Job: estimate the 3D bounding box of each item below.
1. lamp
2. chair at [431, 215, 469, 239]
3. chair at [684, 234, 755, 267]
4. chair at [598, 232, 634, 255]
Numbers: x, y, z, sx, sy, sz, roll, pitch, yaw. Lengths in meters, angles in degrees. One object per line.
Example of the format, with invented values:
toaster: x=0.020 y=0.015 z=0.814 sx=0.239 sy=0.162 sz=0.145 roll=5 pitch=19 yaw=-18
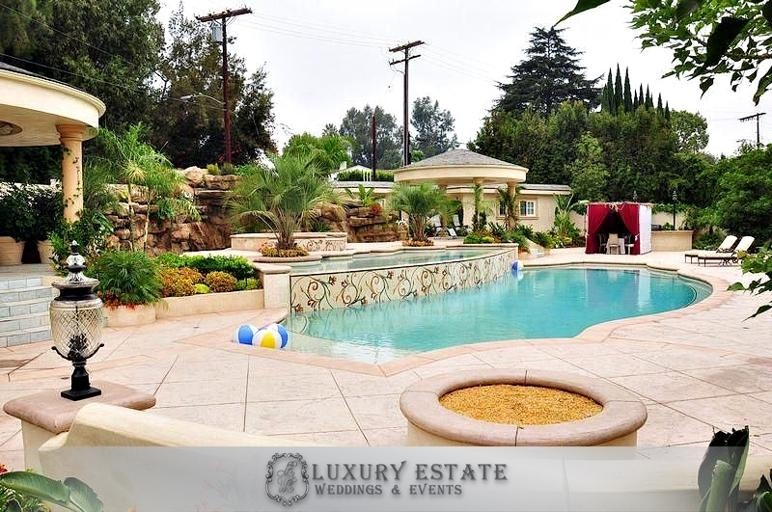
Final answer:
lamp: x=-2.602 y=0.600 z=4.402 sx=0.412 sy=1.194 sz=0.319 roll=1 pitch=4 yaw=18
chair: x=3.759 y=-1.706 z=30.874 sx=1.244 sy=1.193 sz=2.214 roll=0 pitch=2 yaw=-12
chair: x=12.959 y=-0.220 z=20.218 sx=1.542 sy=0.734 sz=1.583 roll=0 pitch=0 yaw=6
chair: x=12.249 y=-0.657 z=27.684 sx=1.637 sy=1.041 sz=1.573 roll=1 pitch=4 yaw=25
